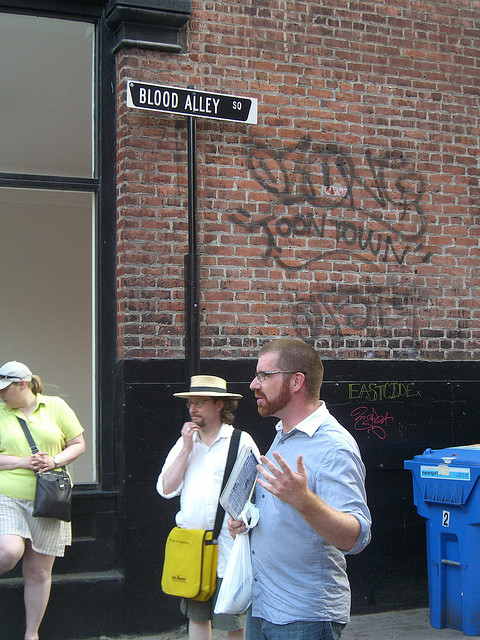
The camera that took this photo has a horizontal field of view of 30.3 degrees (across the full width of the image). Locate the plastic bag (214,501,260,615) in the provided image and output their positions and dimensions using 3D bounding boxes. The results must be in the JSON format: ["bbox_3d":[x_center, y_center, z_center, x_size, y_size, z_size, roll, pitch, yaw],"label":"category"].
[{"bbox_3d":[0.017,0.977,3.557,0.245,0.466,0.118,7,3,-15],"label":"plastic bag"}]

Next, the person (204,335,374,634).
[{"bbox_3d":[0.134,0.793,3.799,0.525,1.385,1.720,0,-5,-10],"label":"person"}]

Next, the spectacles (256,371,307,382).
[{"bbox_3d":[0.161,0.221,3.467,0.202,0.039,0.048,-2,-5,12],"label":"spectacles"}]
